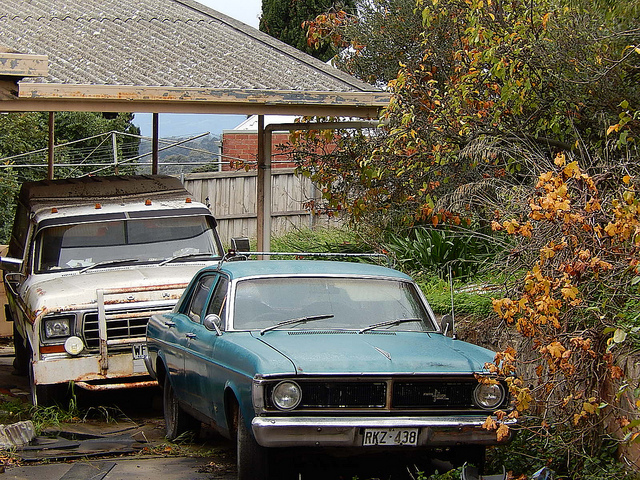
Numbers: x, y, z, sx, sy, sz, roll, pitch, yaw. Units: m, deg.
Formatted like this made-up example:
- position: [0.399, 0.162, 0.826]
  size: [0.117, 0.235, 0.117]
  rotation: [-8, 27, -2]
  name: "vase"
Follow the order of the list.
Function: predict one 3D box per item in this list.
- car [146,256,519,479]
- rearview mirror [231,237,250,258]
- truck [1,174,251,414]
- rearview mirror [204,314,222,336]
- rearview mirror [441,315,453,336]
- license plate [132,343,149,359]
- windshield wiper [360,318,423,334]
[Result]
- position: [-0.326, 1.094, 7.129]
  size: [1.783, 1.050, 3.101]
  rotation: [1, 0, -20]
  name: "car"
- position: [-1.023, 0.055, 9.207]
  size: [0.199, 0.308, 0.312]
  rotation: [3, -6, -22]
  name: "rearview mirror"
- position: [-3.170, 0.427, 10.761]
  size: [2.562, 1.751, 4.106]
  rotation: [-2, 1, -20]
  name: "truck"
- position: [-0.965, 0.775, 6.782]
  size: [0.200, 0.172, 0.214]
  rotation: [0, -1, 13]
  name: "rearview mirror"
- position: [1.206, 0.825, 7.138]
  size: [0.099, 0.199, 0.267]
  rotation: [0, -1, 23]
  name: "rearview mirror"
- position: [-2.204, 1.340, 8.998]
  size: [0.228, 0.188, 0.091]
  rotation: [1, 4, -23]
  name: "license plate"
- position: [0.624, 0.798, 6.871]
  size: [0.749, 0.091, 0.062]
  rotation: [-6, -7, -19]
  name: "windshield wiper"
